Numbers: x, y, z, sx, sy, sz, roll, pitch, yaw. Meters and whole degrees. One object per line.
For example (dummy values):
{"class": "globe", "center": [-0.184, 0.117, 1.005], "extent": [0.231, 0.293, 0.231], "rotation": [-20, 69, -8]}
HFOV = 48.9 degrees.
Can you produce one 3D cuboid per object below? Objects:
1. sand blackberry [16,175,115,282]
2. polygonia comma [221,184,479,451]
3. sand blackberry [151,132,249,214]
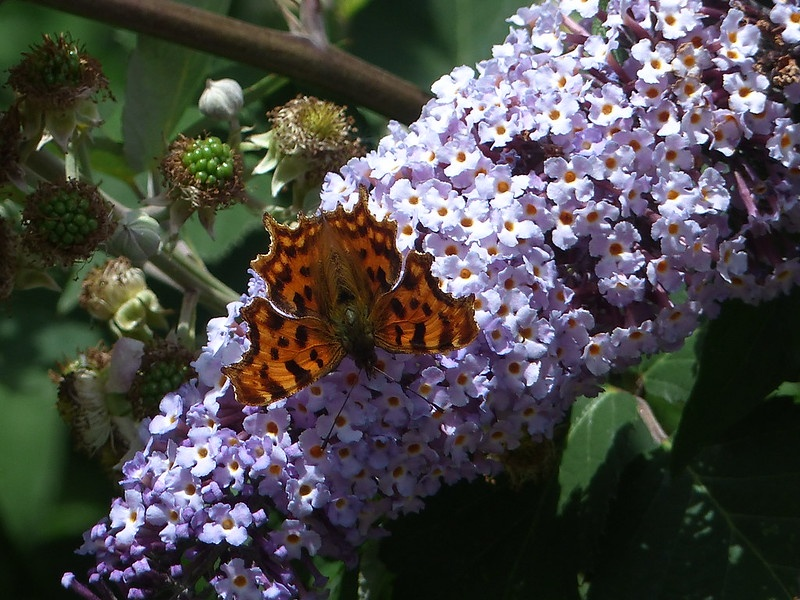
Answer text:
{"class": "sand blackberry", "center": [-1.025, -0.229, 2.659], "extent": [0.258, 0.144, 0.264], "rotation": [-38, 106, -5]}
{"class": "polygonia comma", "center": [-0.155, -0.017, 2.397], "extent": [0.677, 0.205, 0.494], "rotation": [-13, 73, 2]}
{"class": "sand blackberry", "center": [-0.645, -0.420, 2.861], "extent": [0.246, 0.131, 0.255], "rotation": [16, 76, -3]}
